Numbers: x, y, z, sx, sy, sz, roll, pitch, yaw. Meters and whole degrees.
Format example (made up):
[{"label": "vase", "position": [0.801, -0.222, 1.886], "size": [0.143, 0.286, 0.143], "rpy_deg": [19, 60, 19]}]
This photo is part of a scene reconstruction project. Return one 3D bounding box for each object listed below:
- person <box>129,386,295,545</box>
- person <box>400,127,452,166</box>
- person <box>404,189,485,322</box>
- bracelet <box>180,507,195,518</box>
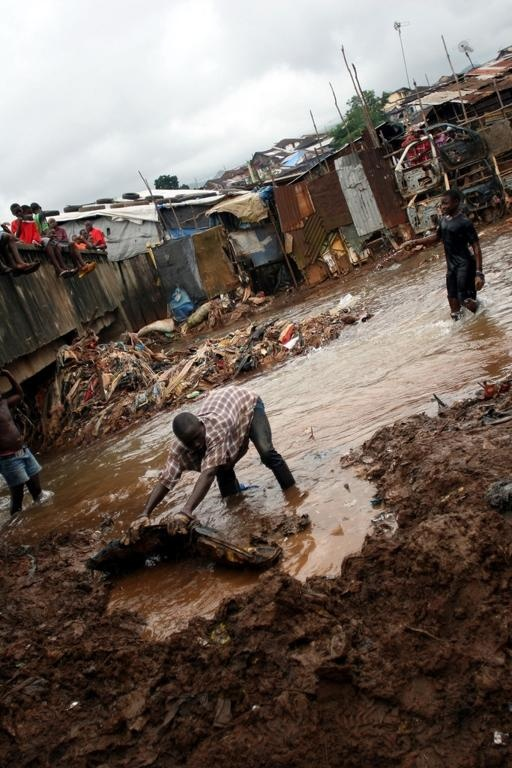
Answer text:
[{"label": "person", "position": [-0.367, 0.618, 4.426], "size": [0.619, 0.982, 1.839], "rpy_deg": [-7, 4, 27]}, {"label": "person", "position": [5.575, -8.014, 17.549], "size": [1.594, 1.175, 0.607], "rpy_deg": [-17, 43, -10]}, {"label": "person", "position": [2.785, -1.626, 7.422], "size": [0.973, 2.159, 0.755], "rpy_deg": [8, 33, 40]}, {"label": "bracelet", "position": [-0.504, 0.950, 3.842], "size": [0.087, 0.087, 0.079], "rpy_deg": [-17, 44, -28]}]
